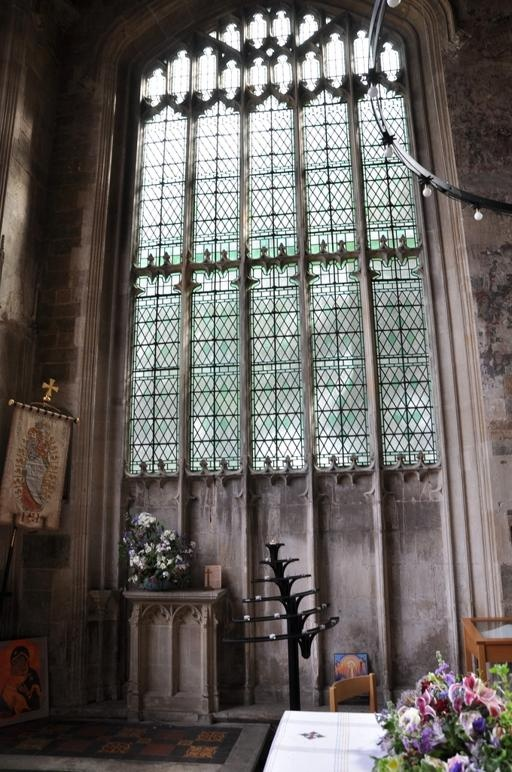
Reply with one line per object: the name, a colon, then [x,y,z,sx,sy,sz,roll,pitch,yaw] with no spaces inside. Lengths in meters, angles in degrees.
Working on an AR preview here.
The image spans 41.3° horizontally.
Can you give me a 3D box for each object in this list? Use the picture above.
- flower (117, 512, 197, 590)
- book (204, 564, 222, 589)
flower: [-1.000,1.659,6.796,0.599,0.668,0.527,7,19,2]
book: [-0.427,1.913,6.773,0.239,0.324,0.042,1,-13,-4]
